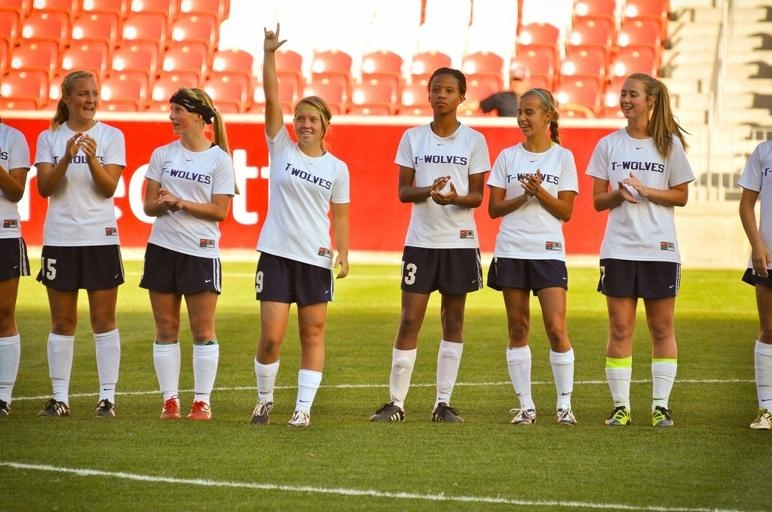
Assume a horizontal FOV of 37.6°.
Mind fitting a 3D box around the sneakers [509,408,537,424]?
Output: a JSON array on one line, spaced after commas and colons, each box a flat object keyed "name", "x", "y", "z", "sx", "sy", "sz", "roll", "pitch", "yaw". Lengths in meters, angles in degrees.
[{"name": "sneakers", "x": 1.287, "y": 1.488, "z": 10.471, "sx": 0.134, "sy": 0.084, "sz": 0.224, "roll": -4, "pitch": -9, "yaw": 40}]

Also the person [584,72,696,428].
[{"name": "person", "x": 2.333, "y": -0.068, "z": 10.509, "sx": 0.905, "sy": 3.186, "sz": 0.894, "roll": 3, "pitch": 10, "yaw": 14}]

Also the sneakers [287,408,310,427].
[{"name": "sneakers", "x": -0.789, "y": 1.460, "z": 10.298, "sx": 0.191, "sy": 0.162, "sz": 0.281, "roll": 0, "pitch": 10, "yaw": -2}]

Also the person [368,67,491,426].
[{"name": "person", "x": 0.465, "y": -0.105, "z": 10.640, "sx": 1.107, "sy": 3.256, "sz": 0.909, "roll": -4, "pitch": 11, "yaw": -22}]

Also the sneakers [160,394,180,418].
[{"name": "sneakers", "x": -1.986, "y": 1.401, "z": 10.443, "sx": 0.185, "sy": 0.190, "sz": 0.223, "roll": -1, "pitch": 10, "yaw": -11}]

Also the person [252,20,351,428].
[{"name": "person", "x": -0.793, "y": 0.055, "z": 10.315, "sx": 0.996, "sy": 2.962, "sz": 0.733, "roll": -6, "pitch": 12, "yaw": -32}]

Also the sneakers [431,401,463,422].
[{"name": "sneakers", "x": 0.538, "y": 1.469, "z": 10.537, "sx": 0.156, "sy": 0.109, "sz": 0.249, "roll": 3, "pitch": -8, "yaw": -39}]

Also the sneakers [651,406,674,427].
[{"name": "sneakers", "x": 2.528, "y": 1.468, "z": 10.422, "sx": 0.185, "sy": 0.168, "sz": 0.345, "roll": 3, "pitch": 10, "yaw": 13}]

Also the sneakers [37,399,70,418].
[{"name": "sneakers", "x": -3.049, "y": 1.410, "z": 10.386, "sx": 0.138, "sy": 0.101, "sz": 0.248, "roll": 3, "pitch": -11, "yaw": 21}]

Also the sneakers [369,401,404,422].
[{"name": "sneakers", "x": -0.012, "y": 1.461, "z": 10.507, "sx": 0.324, "sy": 0.147, "sz": 0.145, "roll": 7, "pitch": -6, "yaw": -37}]

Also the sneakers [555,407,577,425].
[{"name": "sneakers", "x": 1.649, "y": 1.480, "z": 10.401, "sx": 0.179, "sy": 0.132, "sz": 0.118, "roll": 3, "pitch": 10, "yaw": 13}]

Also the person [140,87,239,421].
[{"name": "person", "x": -1.842, "y": -0.017, "z": 10.508, "sx": 0.877, "sy": 3.009, "sz": 0.912, "roll": 0, "pitch": 10, "yaw": -4}]

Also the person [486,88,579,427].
[{"name": "person", "x": 1.335, "y": -0.007, "z": 10.514, "sx": 0.821, "sy": 3.019, "sz": 0.849, "roll": 1, "pitch": 10, "yaw": 5}]

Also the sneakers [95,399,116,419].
[{"name": "sneakers", "x": -2.596, "y": 1.423, "z": 10.479, "sx": 0.121, "sy": 0.174, "sz": 0.178, "roll": 3, "pitch": -7, "yaw": -15}]

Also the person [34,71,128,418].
[{"name": "person", "x": -2.828, "y": -0.117, "z": 10.519, "sx": 0.820, "sy": 3.136, "sz": 0.871, "roll": -2, "pitch": 10, "yaw": -13}]

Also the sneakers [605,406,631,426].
[{"name": "sneakers", "x": 2.142, "y": 1.487, "z": 10.472, "sx": 0.120, "sy": 0.121, "sz": 0.281, "roll": -5, "pitch": -8, "yaw": 30}]

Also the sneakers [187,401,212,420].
[{"name": "sneakers", "x": -1.721, "y": 1.419, "z": 10.464, "sx": 0.222, "sy": 0.165, "sz": 0.307, "roll": -1, "pitch": 10, "yaw": -10}]
